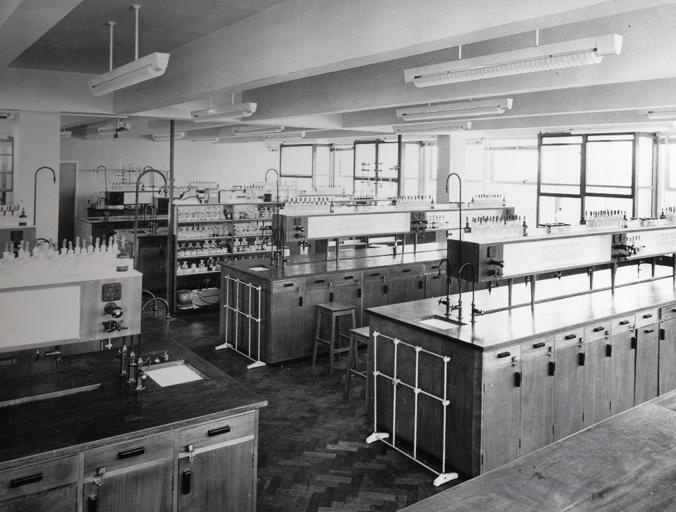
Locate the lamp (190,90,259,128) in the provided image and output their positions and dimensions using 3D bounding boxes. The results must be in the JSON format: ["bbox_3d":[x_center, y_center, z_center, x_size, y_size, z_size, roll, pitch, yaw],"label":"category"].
[{"bbox_3d":[-1.704,-2.310,8.136,1.009,0.544,1.960,-3,7,-15],"label":"lamp"}]

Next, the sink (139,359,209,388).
[{"bbox_3d":[-1.340,1.003,4.386,0.451,0.192,0.472,-5,8,-32],"label":"sink"}]

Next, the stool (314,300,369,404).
[{"bbox_3d":[0.011,1.290,7.172,0.811,1.270,0.827,-6,21,-31],"label":"stool"}]

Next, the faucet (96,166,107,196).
[{"bbox_3d":[-6.949,-2.331,16.044,0.306,0.741,0.216,0,6,8],"label":"faucet"}]

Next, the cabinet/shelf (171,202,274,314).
[{"bbox_3d":[-2.170,0.071,9.772,2.059,1.826,0.583,-3,4,-40],"label":"cabinet/shelf"}]
